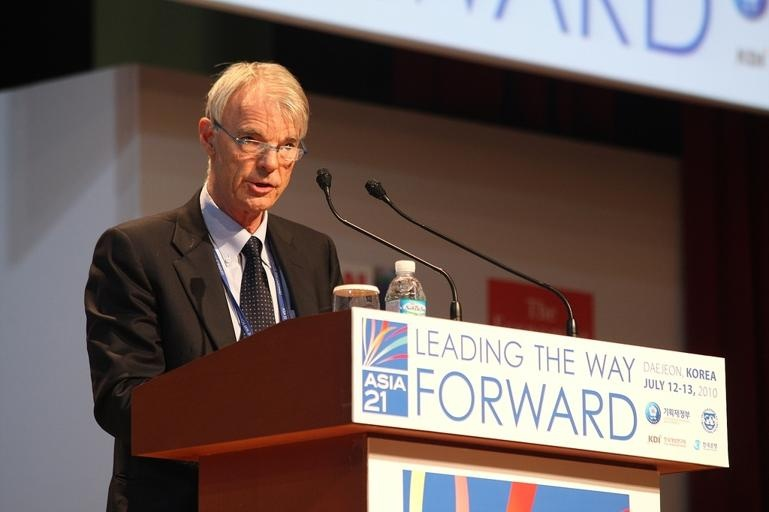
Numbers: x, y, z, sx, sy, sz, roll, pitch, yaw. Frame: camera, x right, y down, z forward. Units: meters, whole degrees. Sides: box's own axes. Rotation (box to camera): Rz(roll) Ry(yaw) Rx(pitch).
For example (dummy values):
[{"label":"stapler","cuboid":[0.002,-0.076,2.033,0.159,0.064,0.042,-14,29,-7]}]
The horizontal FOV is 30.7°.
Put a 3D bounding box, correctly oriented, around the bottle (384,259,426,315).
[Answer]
[{"label":"bottle","cuboid":[0.077,0.111,5.102,0.122,0.292,0.134,0,-12,0]}]
